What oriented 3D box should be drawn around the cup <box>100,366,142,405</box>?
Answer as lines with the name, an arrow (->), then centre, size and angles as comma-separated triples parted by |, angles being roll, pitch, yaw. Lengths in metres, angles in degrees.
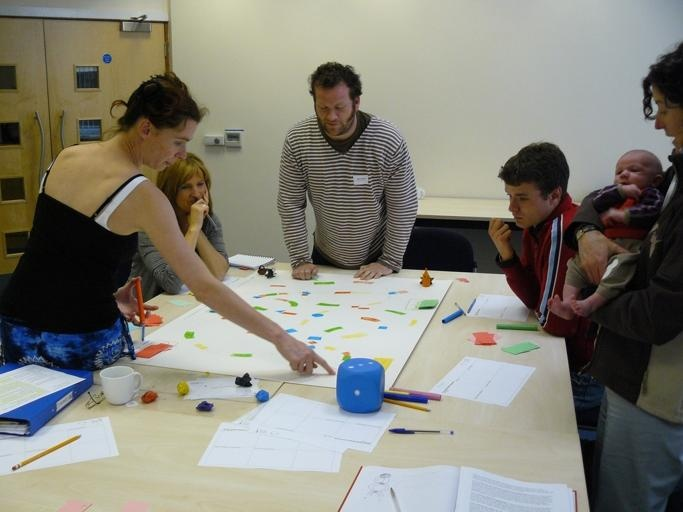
cup -> -0.694, 0.414, 1.625 | 0.118, 0.099, 0.090 | -7, 15, -41

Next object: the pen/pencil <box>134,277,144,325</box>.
pen/pencil -> -0.811, 0.188, 2.058 | 0.026, 0.191, 0.024 | -9, -3, 13

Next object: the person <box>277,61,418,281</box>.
person -> 0.018, -0.456, 2.792 | 0.725, 1.219, 0.629 | -2, 37, -1

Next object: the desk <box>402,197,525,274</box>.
desk -> 0.991, -0.277, 4.044 | 0.790, 0.848, 0.622 | 3, 12, 15

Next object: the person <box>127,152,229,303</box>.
person -> -0.863, -0.130, 2.715 | 0.410, 0.851, 0.492 | 5, 10, -22
